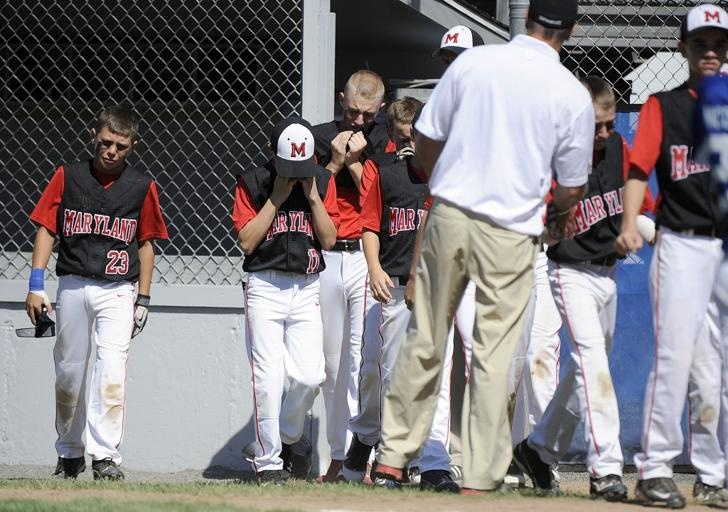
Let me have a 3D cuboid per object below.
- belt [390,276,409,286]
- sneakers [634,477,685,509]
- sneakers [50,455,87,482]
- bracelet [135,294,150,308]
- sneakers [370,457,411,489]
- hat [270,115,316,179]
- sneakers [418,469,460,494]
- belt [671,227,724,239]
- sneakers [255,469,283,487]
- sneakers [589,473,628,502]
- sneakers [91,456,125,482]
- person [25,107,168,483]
[{"bbox_3d":[0.253,0.169,8.632,0.094,0.077,0.068,-8,13,-5],"label":"belt"},{"bbox_3d":[1.843,1.464,7.598,0.122,0.146,0.307,4,-4,-39],"label":"sneakers"},{"bbox_3d":[-2.139,1.531,8.906,0.307,0.140,0.102,5,-3,-11],"label":"sneakers"},{"bbox_3d":[-1.624,0.324,8.951,0.100,0.076,0.092,-1,0,0],"label":"bracelet"},{"bbox_3d":[0.168,1.350,7.637,0.160,0.163,0.366,1,-13,17],"label":"sneakers"},{"bbox_3d":[-0.496,-0.742,8.573,0.274,0.431,0.243,-4,-38,-14],"label":"hat"},{"bbox_3d":[0.498,1.489,8.107,0.299,0.116,0.101,-6,-7,42],"label":"sneakers"},{"bbox_3d":[2.065,-0.144,7.590,0.295,0.053,0.051,1,-4,0],"label":"belt"},{"bbox_3d":[-0.647,1.524,8.428,0.081,0.093,0.223,5,-13,-30],"label":"sneakers"},{"bbox_3d":[1.560,1.485,7.804,0.125,0.120,0.268,13,-12,-27],"label":"sneakers"},{"bbox_3d":[-1.802,1.489,8.592,0.121,0.110,0.237,3,3,20],"label":"sneakers"},{"bbox_3d":[-1.944,0.258,8.889,0.828,2.683,0.558,-1,-5,21],"label":"person"}]
